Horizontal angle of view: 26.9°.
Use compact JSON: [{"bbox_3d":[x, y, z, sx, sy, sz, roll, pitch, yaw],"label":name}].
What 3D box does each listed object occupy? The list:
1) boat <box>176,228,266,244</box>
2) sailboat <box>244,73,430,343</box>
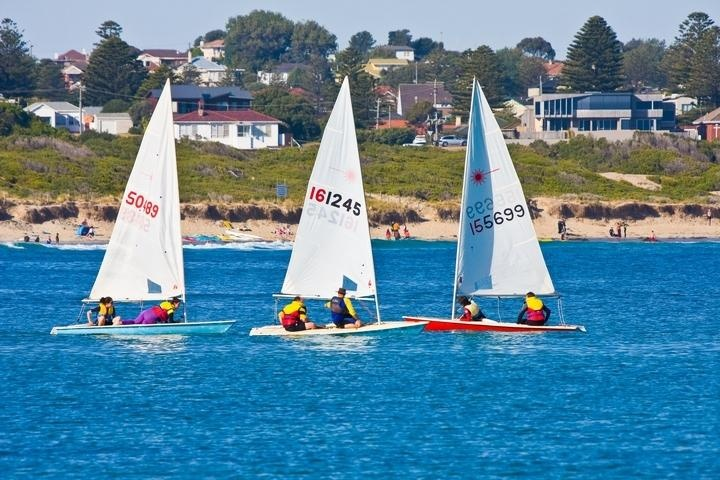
[{"bbox_3d":[-14.147,-0.274,158.489,9.797,1.003,2.806,0,16,-5],"label":"boat"},{"bbox_3d":[-1.874,-2.243,113.588,8.475,18.338,5.503,1,0,0],"label":"sailboat"}]
